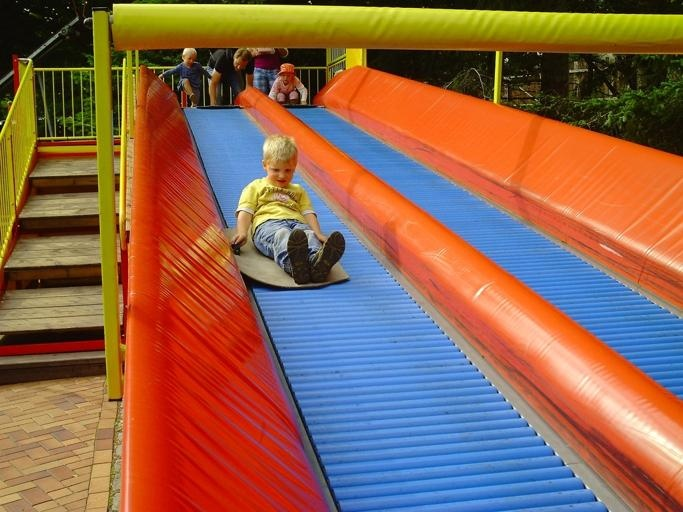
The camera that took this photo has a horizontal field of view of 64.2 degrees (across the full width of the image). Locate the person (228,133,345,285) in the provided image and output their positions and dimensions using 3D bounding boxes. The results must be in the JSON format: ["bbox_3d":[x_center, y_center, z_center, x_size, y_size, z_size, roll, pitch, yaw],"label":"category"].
[{"bbox_3d":[-0.353,-0.302,3.297,0.814,0.715,1.034,-7,21,-23],"label":"person"}]

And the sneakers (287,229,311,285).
[{"bbox_3d":[-0.229,0.002,2.946,0.131,0.284,0.150,-8,21,-22],"label":"sneakers"}]
